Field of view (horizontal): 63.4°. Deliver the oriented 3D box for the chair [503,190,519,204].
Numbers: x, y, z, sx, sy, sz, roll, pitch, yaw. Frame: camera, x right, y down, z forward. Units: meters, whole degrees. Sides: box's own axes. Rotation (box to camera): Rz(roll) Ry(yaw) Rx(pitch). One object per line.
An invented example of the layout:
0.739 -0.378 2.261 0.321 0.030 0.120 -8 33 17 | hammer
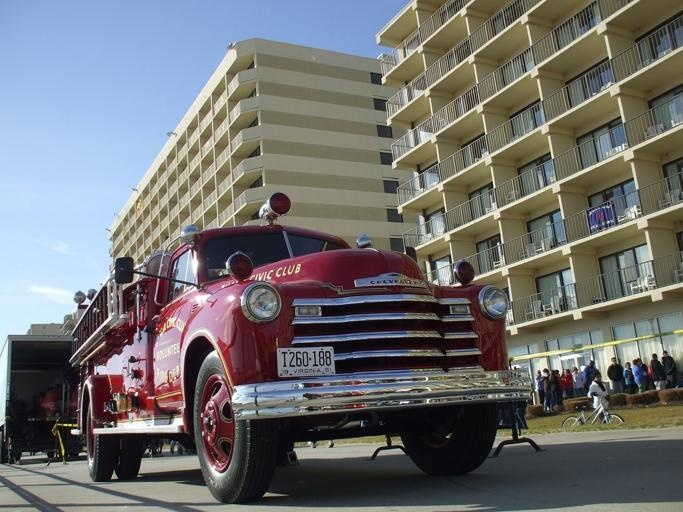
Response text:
9.947 -3.524 32.474 0.713 0.613 0.807 -5 -6 37 | chair
